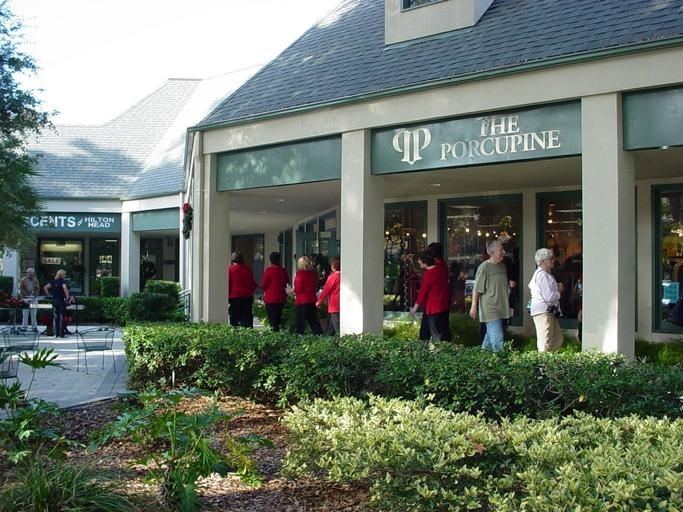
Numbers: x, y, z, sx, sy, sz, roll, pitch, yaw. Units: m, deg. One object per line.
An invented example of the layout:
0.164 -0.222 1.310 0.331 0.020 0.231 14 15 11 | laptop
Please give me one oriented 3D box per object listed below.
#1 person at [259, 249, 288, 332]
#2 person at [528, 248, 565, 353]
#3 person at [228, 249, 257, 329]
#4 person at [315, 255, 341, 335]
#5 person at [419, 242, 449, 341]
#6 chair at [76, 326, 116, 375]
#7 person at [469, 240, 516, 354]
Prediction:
-1.267 0.649 12.236 0.447 1.411 0.655 -1 -4 9 | person
2.838 0.592 8.985 0.432 1.398 0.357 -1 -4 0 | person
-1.901 0.620 12.533 0.503 1.443 0.827 0 -4 -9 | person
-0.219 0.715 11.855 0.395 1.399 0.768 0 -4 -2 | person
1.476 0.595 10.376 0.502 1.482 0.760 -1 -4 10 | person
-5.007 1.837 13.296 0.734 1.033 0.770 1 10 -16 | chair
2.243 0.573 9.816 0.545 1.639 1.139 -2 -4 14 | person
